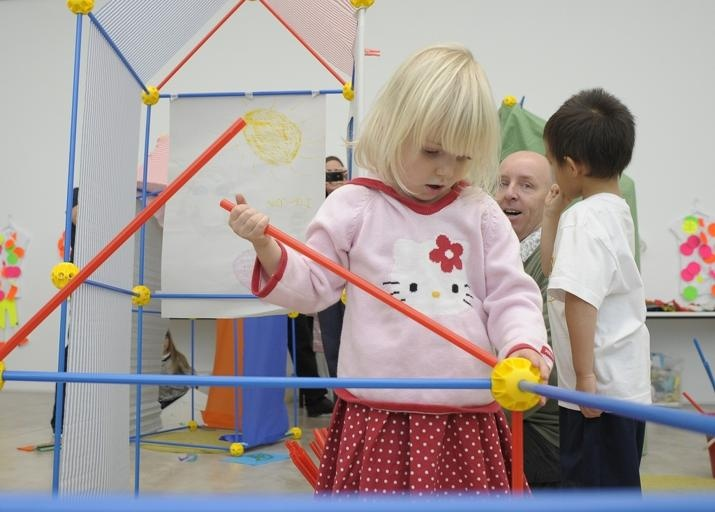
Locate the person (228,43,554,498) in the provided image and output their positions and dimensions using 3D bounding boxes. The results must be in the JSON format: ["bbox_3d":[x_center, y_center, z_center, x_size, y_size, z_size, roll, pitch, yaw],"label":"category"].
[{"bbox_3d":[0.122,0.032,1.969,0.776,0.975,0.353,1,0,13],"label":"person"}]

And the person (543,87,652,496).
[{"bbox_3d":[0.735,0.090,2.271,0.314,1.134,0.406,0,0,14],"label":"person"}]

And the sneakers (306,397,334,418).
[{"bbox_3d":[-0.206,0.850,4.092,0.214,0.093,0.075,-6,-2,1],"label":"sneakers"}]
